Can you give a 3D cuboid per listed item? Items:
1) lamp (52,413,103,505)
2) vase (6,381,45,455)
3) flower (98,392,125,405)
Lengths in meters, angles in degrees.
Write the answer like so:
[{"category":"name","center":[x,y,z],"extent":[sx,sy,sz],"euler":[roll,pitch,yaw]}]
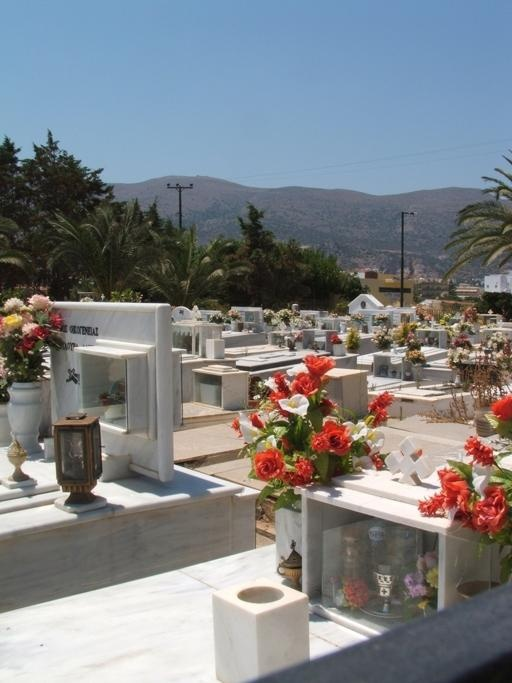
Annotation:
[{"category":"lamp","center":[-1.548,1.032,4.903],"extent":[0.405,0.684,0.412],"euler":[-7,-1,-11]},{"category":"vase","center":[-2.798,0.929,6.854],"extent":[0.388,0.752,0.465],"euler":[-7,-2,-26]},{"category":"flower","center":[-1.489,0.582,5.774],"extent":[0.176,0.083,0.235],"euler":[0,-2,32]}]
